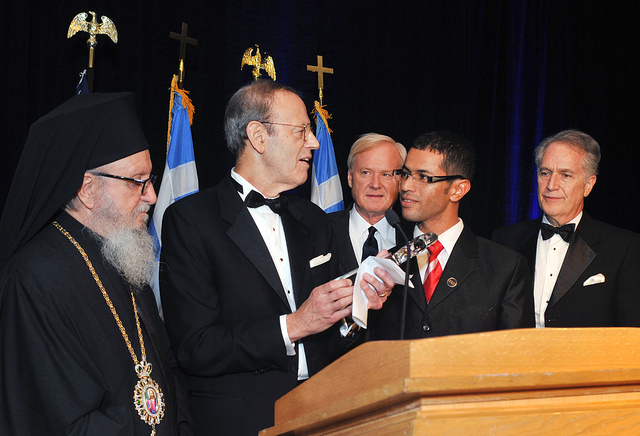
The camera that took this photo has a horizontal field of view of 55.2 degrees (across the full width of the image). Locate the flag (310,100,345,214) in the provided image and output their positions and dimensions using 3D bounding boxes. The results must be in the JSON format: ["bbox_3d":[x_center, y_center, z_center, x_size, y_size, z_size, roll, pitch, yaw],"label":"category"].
[{"bbox_3d":[0.061,-0.626,6.112,0.318,1.074,0.466,-2,8,-27],"label":"flag"}]

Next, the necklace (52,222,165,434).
[{"bbox_3d":[-1.039,0.595,3.221,0.271,0.943,0.571,-6,10,-44],"label":"necklace"}]

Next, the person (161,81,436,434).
[{"bbox_3d":[-0.311,0.182,3.452,1.241,1.978,0.916,2,7,5],"label":"person"}]
